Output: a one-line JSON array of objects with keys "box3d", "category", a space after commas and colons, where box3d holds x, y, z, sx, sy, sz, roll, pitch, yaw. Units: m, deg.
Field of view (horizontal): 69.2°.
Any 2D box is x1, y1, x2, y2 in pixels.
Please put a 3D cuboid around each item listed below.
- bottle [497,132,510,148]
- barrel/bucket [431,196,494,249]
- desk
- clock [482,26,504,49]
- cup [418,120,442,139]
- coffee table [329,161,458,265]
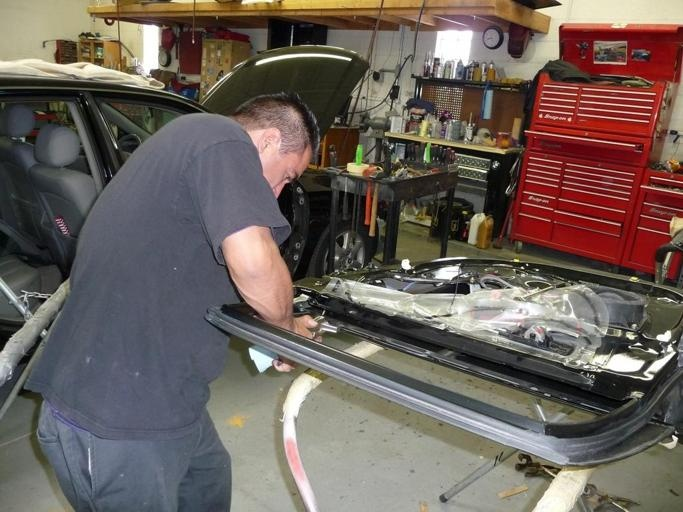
[{"box3d": [1.964, -1.421, 6.057, 0.140, 0.157, 0.288, 3, 24, 1], "category": "bottle"}, {"box3d": [1.444, -0.442, 6.184, 0.719, 0.601, 0.512, -3, 30, 3], "category": "barrel/bucket"}, {"box3d": [1.441, -1.017, 6.716, 1.711, 1.010, 0.579, 22, 18, 40], "category": "desk"}, {"box3d": [1.900, -2.796, 6.294, 0.276, 0.277, 0.286, 11, 25, 17], "category": "clock"}, {"box3d": [1.177, -1.687, 6.578, 0.350, 0.316, 0.192, 7, 23, 17], "category": "cup"}, {"box3d": [0.460, -0.373, 4.354, 1.100, 0.759, 0.568, -20, 35, -37], "category": "coffee table"}]
